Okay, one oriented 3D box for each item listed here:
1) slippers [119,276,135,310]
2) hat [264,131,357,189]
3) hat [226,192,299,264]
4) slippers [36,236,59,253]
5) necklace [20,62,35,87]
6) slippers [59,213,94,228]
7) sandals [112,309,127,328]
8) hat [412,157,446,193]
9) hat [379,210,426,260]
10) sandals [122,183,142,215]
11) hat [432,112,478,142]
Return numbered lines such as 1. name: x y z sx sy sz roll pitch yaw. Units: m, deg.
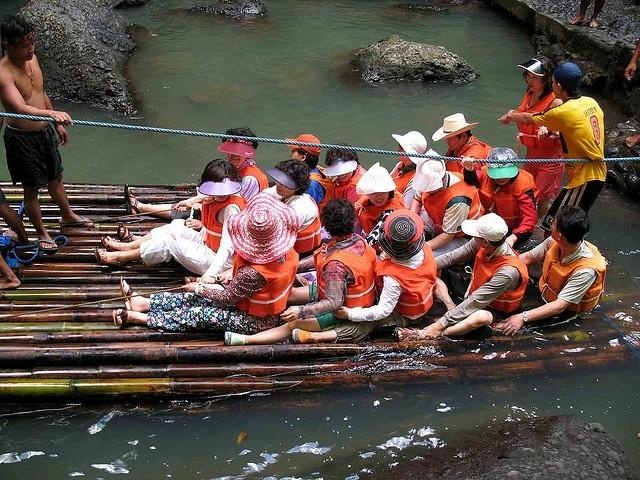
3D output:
1. slippers: -1.846 0.512 6.286 0.108 0.124 0.307 -15 68 -20
2. hat: -0.025 -0.956 7.272 0.837 0.252 0.521 9 41 7
3. hat: -0.503 -0.082 6.004 0.764 0.243 0.588 -7 68 -1
4. slippers: -2.847 0.041 6.878 0.118 0.061 0.278 -27 41 -36
5. necklace: -2.896 -1.651 6.543 0.070 0.180 0.026 -24 10 -37
6. slippers: -2.680 -0.204 7.280 0.389 0.090 0.145 -1 10 -10
7. sandals: -1.826 0.706 6.059 0.105 0.191 0.078 0 20 -15
8. hat: 1.116 -0.649 6.818 0.337 0.229 0.345 1 52 29
9. hat: 0.763 -0.030 6.059 0.359 0.433 0.333 18 33 17
10. sandals: -2.178 -0.471 7.595 0.167 0.335 0.149 -8 3 -24
11. hat: 1.609 -1.283 7.366 0.588 0.184 0.448 -22 14 -8
